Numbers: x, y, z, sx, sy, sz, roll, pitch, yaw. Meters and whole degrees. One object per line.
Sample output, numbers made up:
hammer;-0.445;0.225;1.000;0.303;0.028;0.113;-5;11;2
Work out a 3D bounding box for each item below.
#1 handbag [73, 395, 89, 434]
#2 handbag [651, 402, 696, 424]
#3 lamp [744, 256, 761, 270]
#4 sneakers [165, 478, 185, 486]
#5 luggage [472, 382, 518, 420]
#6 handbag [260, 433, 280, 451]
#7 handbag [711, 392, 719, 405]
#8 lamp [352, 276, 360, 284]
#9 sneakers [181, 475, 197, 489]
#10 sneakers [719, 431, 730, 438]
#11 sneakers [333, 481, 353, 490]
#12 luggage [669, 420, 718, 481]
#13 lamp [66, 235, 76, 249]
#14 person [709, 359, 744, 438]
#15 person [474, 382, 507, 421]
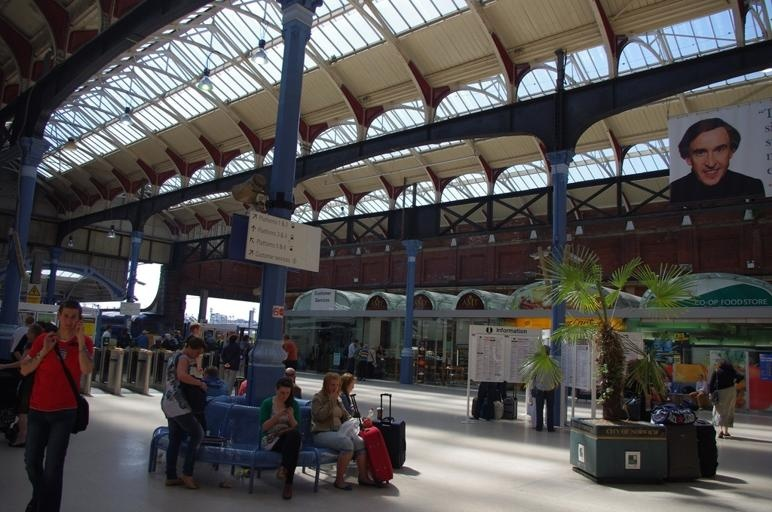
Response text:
handbag;-4.498;2.344;8.635;0.170;0.568;0.496;9;-12;-23
handbag;5.931;3.304;12.248;0.477;0.285;0.639;2;-12;1
lamp;19.682;0.401;31.192;0.664;0.742;0.271;-3;-13;30
sneakers;-3.640;3.906;10.097;0.311;0.129;0.115;-1;-6;-8
luggage;3.170;4.547;18.192;0.960;1.489;1.512;-8;-21;37
handbag;-2.058;3.299;10.291;0.305;0.240;0.128;-34;-20;20
handbag;9.587;4.115;16.909;0.112;0.369;0.211;14;-15;-40
lamp;-2.365;1.912;46.496;0.648;0.660;0.477;4;5;36
sneakers;-3.369;3.896;10.018;0.134;0.165;0.358;14;-18;-41
sneakers;9.559;5.039;16.454;0.408;0.163;0.136;7;-11;-42
sneakers;-0.765;4.149;10.534;0.265;0.100;0.143;-6;-9;32
luggage;6.190;3.980;11.802;1.067;1.049;0.538;6;-8;-35
lamp;-22.620;-1.030;41.873;0.402;0.906;1.338;8;-12;-19
person;9.987;4.081;17.111;0.914;2.249;0.562;2;-8;1
person;3.195;4.407;17.741;1.117;1.106;0.518;11;-13;-31
